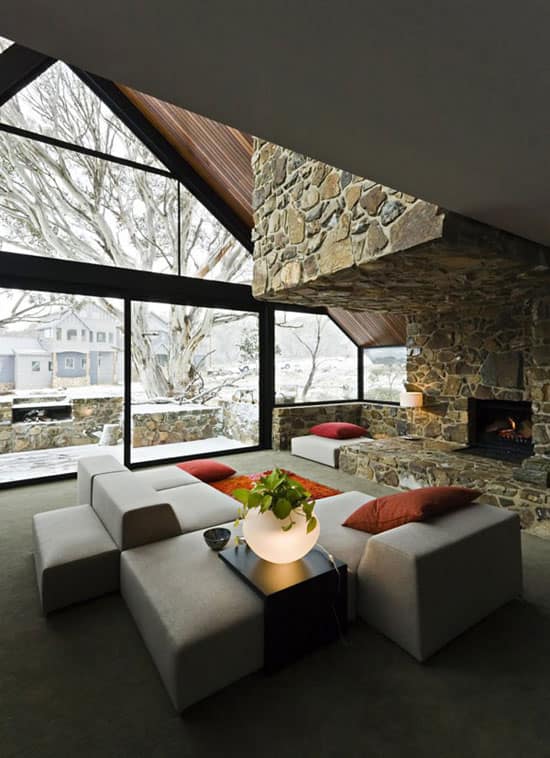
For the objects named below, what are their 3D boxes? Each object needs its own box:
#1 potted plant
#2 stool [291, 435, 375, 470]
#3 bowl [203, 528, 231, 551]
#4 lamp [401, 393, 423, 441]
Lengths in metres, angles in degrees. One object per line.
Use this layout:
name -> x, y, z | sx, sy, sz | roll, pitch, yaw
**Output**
potted plant -> 0.007, 0.564, 2.064 | 0.319, 0.422, 0.245 | 0, 9, 0
stool -> 0.596, 0.766, 5.784 | 0.482, 0.319, 0.929 | -5, 10, -28
bowl -> -0.282, 0.742, 2.412 | 0.085, 0.048, 0.086 | -3, 6, 0
lamp -> 1.517, 0.388, 5.736 | 0.231, 0.568, 0.491 | 2, 9, 16
